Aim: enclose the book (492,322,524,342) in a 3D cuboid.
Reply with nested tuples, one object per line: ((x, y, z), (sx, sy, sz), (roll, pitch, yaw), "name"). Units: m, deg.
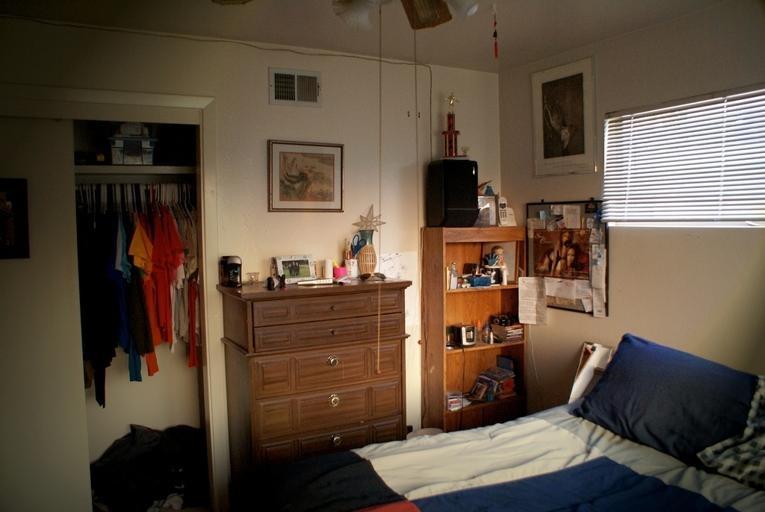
((1.109, 0.683, 4.803), (0.152, 0.073, 0.211), (0, 4, -17), "book")

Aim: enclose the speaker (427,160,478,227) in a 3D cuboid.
((0.665, -0.546, 4.682), (0.363, 0.532, 0.348), (-1, 0, -39), "speaker")

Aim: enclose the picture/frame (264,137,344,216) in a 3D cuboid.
((-0.666, -0.655, 4.381), (0.619, 0.552, 0.043), (0, 0, -26), "picture/frame")

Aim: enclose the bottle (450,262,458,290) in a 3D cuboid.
((0.617, 0.171, 4.695), (0.070, 0.210, 0.290), (0, 4, 8), "bottle")

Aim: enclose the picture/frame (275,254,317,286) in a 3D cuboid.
((-0.677, 0.097, 4.227), (0.348, 0.264, 0.194), (-1, -5, -21), "picture/frame")

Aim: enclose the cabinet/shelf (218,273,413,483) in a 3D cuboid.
((-0.497, 0.900, 3.942), (1.371, 1.853, 0.680), (-3, 9, -17), "cabinet/shelf")

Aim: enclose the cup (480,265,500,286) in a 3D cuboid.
((0.940, 0.172, 4.769), (0.171, 0.161, 0.139), (1, -2, -27), "cup")
